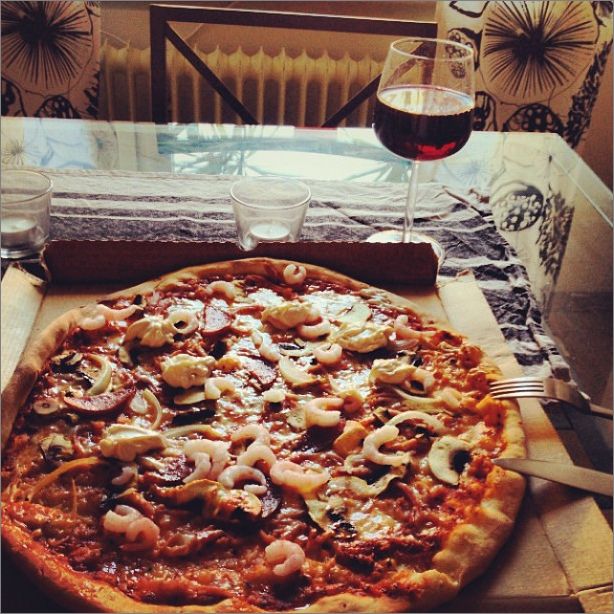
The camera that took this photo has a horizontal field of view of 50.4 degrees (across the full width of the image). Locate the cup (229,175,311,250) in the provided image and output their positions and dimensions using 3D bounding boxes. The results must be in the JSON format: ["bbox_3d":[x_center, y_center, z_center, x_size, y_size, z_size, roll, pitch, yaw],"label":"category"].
[{"bbox_3d":[-0.114,-0.260,1.749,0.251,0.158,0.226,-3,32,-9],"label":"cup"}]

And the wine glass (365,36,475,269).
[{"bbox_3d":[0.282,-0.399,1.688,0.243,0.551,0.285,6,32,3],"label":"wine glass"}]
